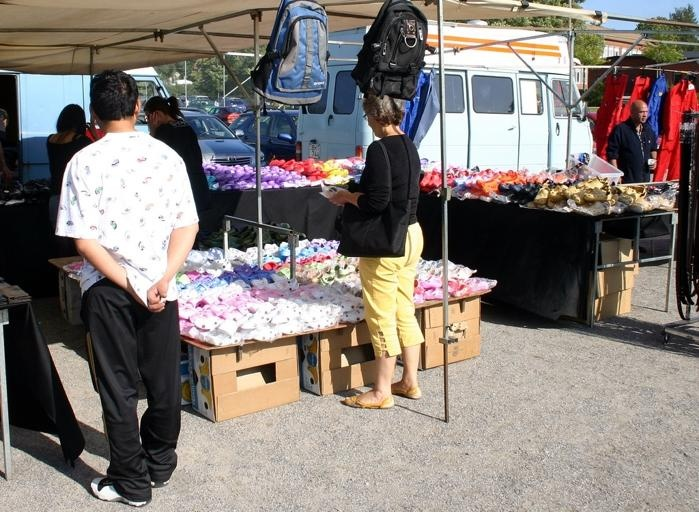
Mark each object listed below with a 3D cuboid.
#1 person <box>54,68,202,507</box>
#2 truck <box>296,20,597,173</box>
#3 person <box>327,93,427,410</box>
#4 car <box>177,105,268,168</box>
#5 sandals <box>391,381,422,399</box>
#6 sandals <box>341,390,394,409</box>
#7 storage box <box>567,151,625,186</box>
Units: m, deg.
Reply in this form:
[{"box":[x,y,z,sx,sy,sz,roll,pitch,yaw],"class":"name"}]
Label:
[{"box":[-1.166,0.228,3.045,0.708,2.361,0.383,-9,16,-28],"class":"person"},{"box":[2.165,-2.683,11.243,5.685,3.138,2.559,-7,16,-29],"class":"truck"},{"box":[0.217,0.015,3.993,0.605,2.245,0.459,-1,14,3],"class":"person"},{"box":[-3.009,-2.632,12.261,1.120,0.837,2.437,-7,17,-32],"class":"car"},{"box":[0.417,1.004,4.338,0.268,0.113,0.107,9,12,43],"class":"sandals"},{"box":[0.129,1.040,4.193,0.311,0.105,0.146,2,0,7],"class":"sandals"},{"box":[2.959,-1.041,6.710,0.391,0.240,0.571,-8,41,-16],"class":"storage box"}]
